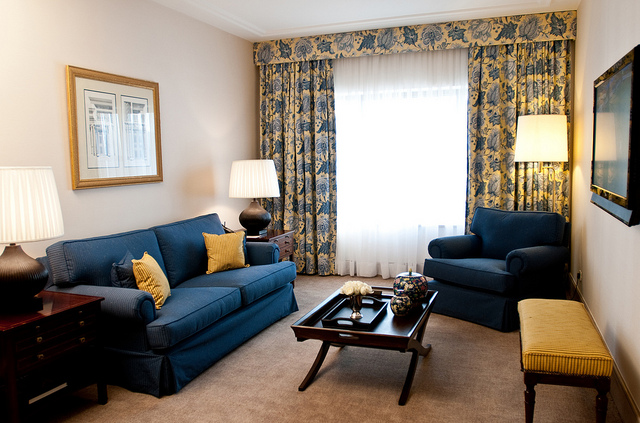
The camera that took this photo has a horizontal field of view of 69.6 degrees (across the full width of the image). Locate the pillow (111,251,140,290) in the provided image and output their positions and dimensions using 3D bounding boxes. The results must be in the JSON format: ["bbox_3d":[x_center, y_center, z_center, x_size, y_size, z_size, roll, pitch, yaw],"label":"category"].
[{"bbox_3d":[-1.811,0.549,4.226,0.217,0.292,0.338,-6,7,-25],"label":"pillow"}]

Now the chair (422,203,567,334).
[{"bbox_3d":[1.997,0.633,5.280,1.443,1.206,0.956,1,7,30],"label":"chair"}]

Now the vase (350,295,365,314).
[{"bbox_3d":[0.329,0.830,4.180,0.150,0.163,0.147,0,7,-12],"label":"vase"}]

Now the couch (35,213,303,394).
[{"bbox_3d":[-1.420,0.783,4.960,1.408,1.202,2.453,2,8,22],"label":"couch"}]

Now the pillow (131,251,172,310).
[{"bbox_3d":[-1.577,0.639,4.238,0.209,0.412,0.439,-4,7,7],"label":"pillow"}]

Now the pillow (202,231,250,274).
[{"bbox_3d":[-1.073,0.451,5.268,0.519,0.454,0.197,-6,7,-30],"label":"pillow"}]

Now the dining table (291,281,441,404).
[{"bbox_3d":[0.478,1.144,4.256,1.031,0.523,1.326,-1,4,20],"label":"dining table"}]

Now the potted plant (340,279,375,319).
[{"bbox_3d":[0.333,0.794,4.188,0.318,0.340,0.326,-1,5,-8],"label":"potted plant"}]
